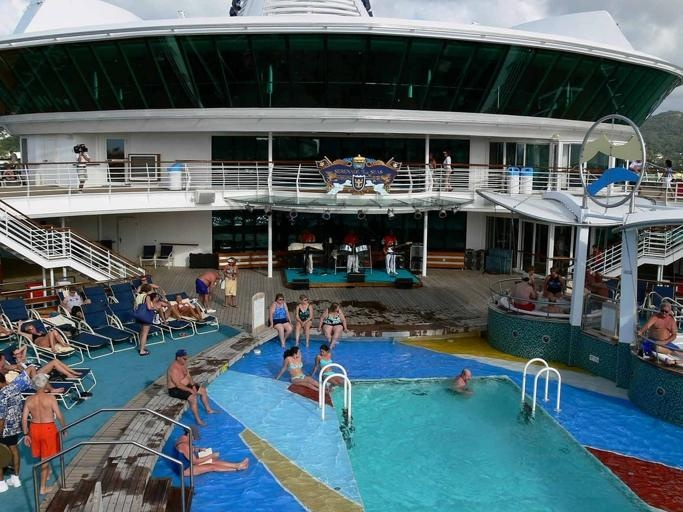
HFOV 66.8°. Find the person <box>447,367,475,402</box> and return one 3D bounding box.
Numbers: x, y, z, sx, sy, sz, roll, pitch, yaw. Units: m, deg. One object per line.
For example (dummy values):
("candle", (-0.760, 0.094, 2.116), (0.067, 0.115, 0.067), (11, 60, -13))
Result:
("person", (3.154, 3.262, 13.339), (0.786, 0.933, 0.572), (2, 12, -12))

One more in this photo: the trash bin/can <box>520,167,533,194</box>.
("trash bin/can", (8.286, -3.339, 23.139), (0.546, 1.171, 1.153), (0, 2, 18))

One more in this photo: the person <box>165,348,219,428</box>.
("person", (-3.425, 2.866, 11.703), (0.980, 1.692, 0.921), (-2, 2, -37))

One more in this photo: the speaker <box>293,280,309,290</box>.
("speaker", (-1.709, 1.184, 21.254), (0.841, 0.433, 0.398), (1, 20, -1))

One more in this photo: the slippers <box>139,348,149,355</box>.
("slippers", (-5.505, 2.647, 14.398), (0.300, 0.099, 0.148), (-8, 25, -36))

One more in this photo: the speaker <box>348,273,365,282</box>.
("speaker", (0.595, 0.915, 21.811), (0.768, 0.388, 0.370), (0, -1, -5))

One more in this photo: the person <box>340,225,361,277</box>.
("person", (0.377, -0.145, 23.047), (0.743, 1.652, 0.671), (-1, 2, -1))

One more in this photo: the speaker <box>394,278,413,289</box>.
("speaker", (2.622, 1.112, 21.975), (0.705, 0.381, 0.463), (0, -2, -6))

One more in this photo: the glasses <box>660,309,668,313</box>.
("glasses", (7.737, 1.295, 12.370), (0.108, 0.098, 0.167), (0, 2, 29))

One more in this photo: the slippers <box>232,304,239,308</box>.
("slippers", (-3.965, 1.827, 19.040), (0.331, 0.082, 0.192), (-2, -10, 7))

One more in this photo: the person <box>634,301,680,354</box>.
("person", (7.900, 1.809, 12.910), (1.264, 1.234, 0.885), (8, 10, 40))

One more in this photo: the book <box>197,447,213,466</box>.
("book", (-2.642, 3.807, 9.944), (0.262, 0.220, 0.061), (3, -40, -19))

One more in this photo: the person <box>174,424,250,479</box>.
("person", (-2.477, 3.763, 9.978), (1.524, 0.710, 0.562), (9, -4, -5))
